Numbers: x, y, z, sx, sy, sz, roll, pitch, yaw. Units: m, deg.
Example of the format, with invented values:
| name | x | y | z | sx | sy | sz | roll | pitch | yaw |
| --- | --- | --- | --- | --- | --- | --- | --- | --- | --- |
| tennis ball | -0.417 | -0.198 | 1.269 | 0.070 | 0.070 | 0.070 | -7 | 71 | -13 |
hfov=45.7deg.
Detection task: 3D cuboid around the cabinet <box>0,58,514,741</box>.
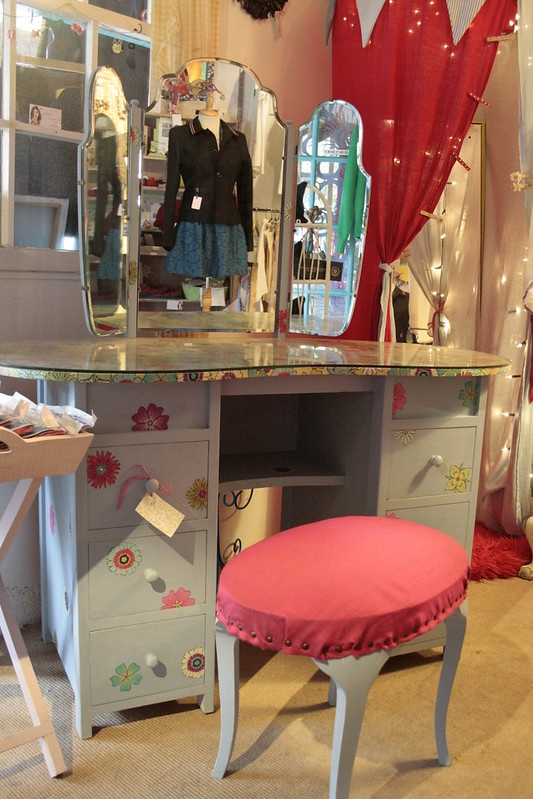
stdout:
| name | x | y | z | sx | sy | sz | roll | pitch | yaw |
| --- | --- | --- | --- | --- | --- | --- | --- | --- | --- |
| cabinet | -0.073 | -0.078 | 1.540 | 1.430 | 1.051 | 0.736 | -4 | 11 | -27 |
